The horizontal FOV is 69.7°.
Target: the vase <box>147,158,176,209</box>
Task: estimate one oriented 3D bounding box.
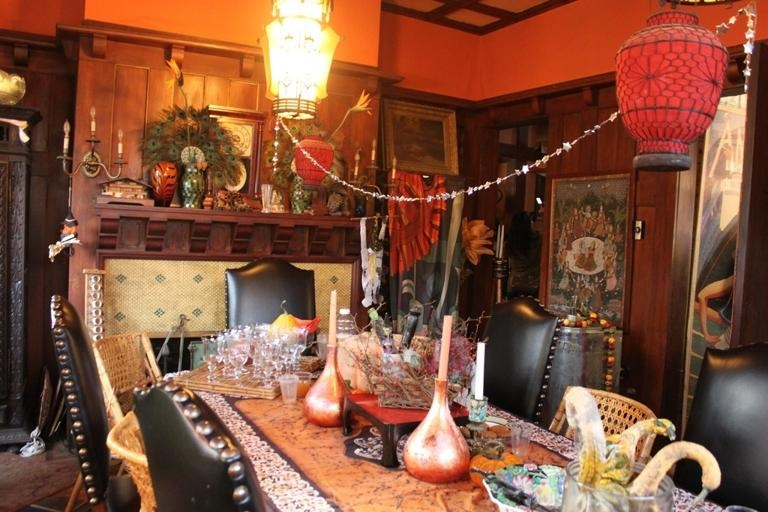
[{"bbox_3d":[-1.646,-0.544,4.150,0.209,0.351,0.207,-4,16,-35],"label":"vase"}]

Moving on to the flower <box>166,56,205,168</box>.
[{"bbox_3d":[-1.469,-1.052,4.139,0.183,0.809,0.345,-9,16,-35],"label":"flower"}]

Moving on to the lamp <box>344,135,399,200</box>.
[{"bbox_3d":[-0.160,-0.742,4.838,0.421,0.498,0.426,7,-3,-24],"label":"lamp"}]

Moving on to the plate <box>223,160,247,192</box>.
[{"bbox_3d":[-1.148,-0.622,4.301,0.187,0.231,0.036,-11,17,-39],"label":"plate"}]

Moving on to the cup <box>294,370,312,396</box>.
[{"bbox_3d":[-0.393,0.620,2.669,0.078,0.095,0.086,1,-5,0],"label":"cup"}]

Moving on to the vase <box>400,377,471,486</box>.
[{"bbox_3d":[0.199,0.641,2.049,0.245,0.373,0.230,5,6,13],"label":"vase"}]

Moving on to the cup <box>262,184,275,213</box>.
[{"bbox_3d":[-0.907,-0.458,4.331,0.106,0.199,0.113,0,13,0],"label":"cup"}]

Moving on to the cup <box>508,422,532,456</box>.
[{"bbox_3d":[0.511,0.697,2.135,0.096,0.113,0.097,1,4,0],"label":"cup"}]

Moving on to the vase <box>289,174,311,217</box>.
[{"bbox_3d":[-0.671,-0.495,4.497,0.171,0.309,0.202,-2,-4,44],"label":"vase"}]

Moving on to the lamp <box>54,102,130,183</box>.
[{"bbox_3d":[-2.056,-0.804,3.922,0.407,0.508,0.274,1,-1,-27],"label":"lamp"}]

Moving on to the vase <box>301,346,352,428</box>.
[{"bbox_3d":[-0.237,0.552,2.374,0.195,0.333,0.212,9,6,20],"label":"vase"}]

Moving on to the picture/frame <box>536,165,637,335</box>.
[{"bbox_3d":[1.727,-0.090,4.756,0.306,1.234,0.870,-13,19,-43],"label":"picture/frame"}]

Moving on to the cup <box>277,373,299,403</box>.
[{"bbox_3d":[-0.431,0.602,2.518,0.103,0.120,0.107,0,4,0],"label":"cup"}]

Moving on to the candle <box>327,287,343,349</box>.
[{"bbox_3d":[-0.216,0.273,2.317,0.033,0.241,0.060,-3,14,-15],"label":"candle"}]

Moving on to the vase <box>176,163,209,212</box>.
[{"bbox_3d":[-1.408,-0.532,4.149,0.195,0.340,0.125,-5,14,-21],"label":"vase"}]

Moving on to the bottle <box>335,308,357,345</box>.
[{"bbox_3d":[-0.222,0.404,3.051,0.118,0.222,0.123,1,-1,0],"label":"bottle"}]

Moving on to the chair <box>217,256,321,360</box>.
[{"bbox_3d":[-0.748,0.395,3.938,0.522,0.802,0.650,2,-12,-10],"label":"chair"}]

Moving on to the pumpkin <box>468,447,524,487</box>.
[{"bbox_3d":[0.397,0.745,1.999,0.140,0.140,0.145,-1,-4,-4],"label":"pumpkin"}]

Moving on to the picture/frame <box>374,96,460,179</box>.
[{"bbox_3d":[0.287,-1.143,5.356,0.828,0.730,0.065,10,-15,-35],"label":"picture/frame"}]
